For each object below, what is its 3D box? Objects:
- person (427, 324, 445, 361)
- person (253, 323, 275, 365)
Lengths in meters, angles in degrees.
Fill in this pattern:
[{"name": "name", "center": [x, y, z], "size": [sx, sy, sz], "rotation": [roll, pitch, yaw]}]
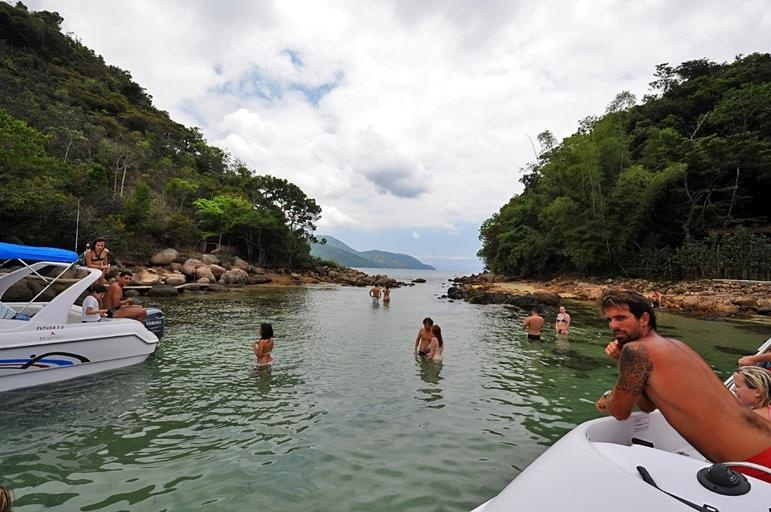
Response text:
[{"name": "person", "center": [1.792, 3.098, 13.242], "size": [0.565, 1.201, 0.440], "rotation": [5, 6, 28]}, {"name": "person", "center": [-4.002, 2.831, 12.080], "size": [0.594, 1.477, 1.337], "rotation": [1, 5, -18]}]
